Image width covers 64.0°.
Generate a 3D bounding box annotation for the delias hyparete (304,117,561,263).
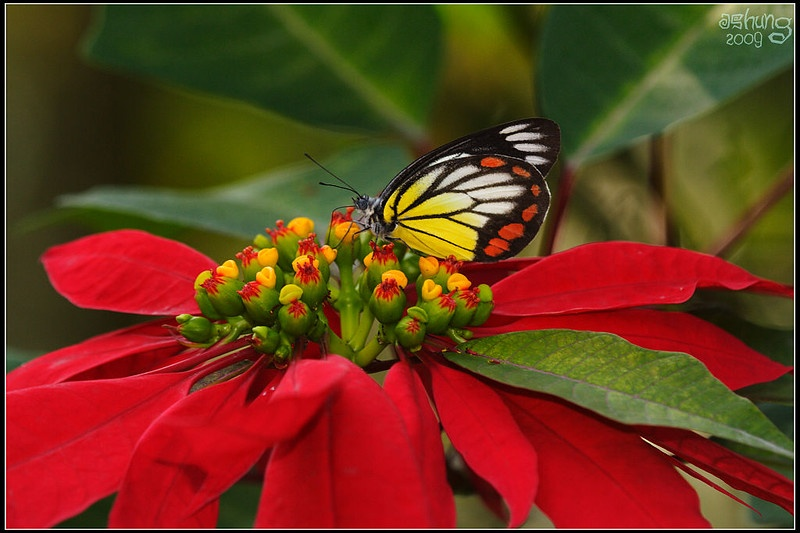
[{"bbox_3d":[0.035,-0.085,0.867,0.344,0.189,0.127,4,-22,15],"label":"delias hyparete"}]
